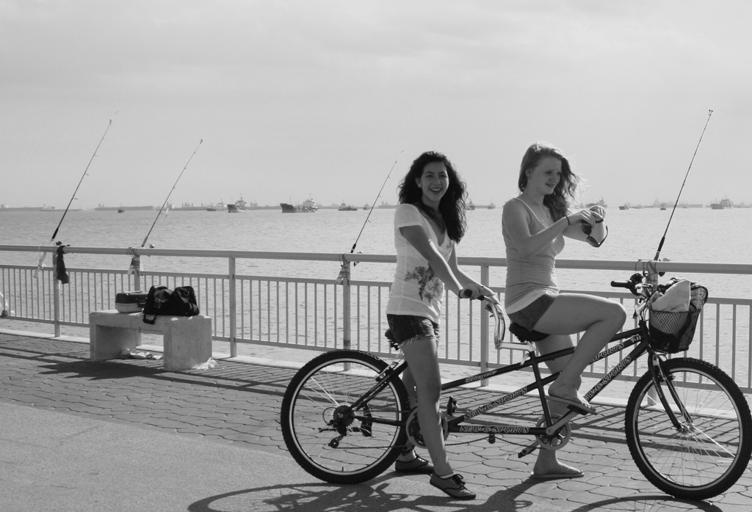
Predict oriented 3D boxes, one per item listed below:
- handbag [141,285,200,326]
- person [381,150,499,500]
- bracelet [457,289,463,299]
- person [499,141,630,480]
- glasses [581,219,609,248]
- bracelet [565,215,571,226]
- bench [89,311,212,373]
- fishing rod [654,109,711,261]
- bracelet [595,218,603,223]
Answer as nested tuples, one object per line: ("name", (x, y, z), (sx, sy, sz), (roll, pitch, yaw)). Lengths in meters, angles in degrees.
("handbag", (-2.630, 0.634, 10.292), (0.696, 0.485, 0.265), (-1, 3, -14))
("person", (0.447, 0.506, 6.235), (0.707, 2.642, 0.608), (1, 4, 14))
("bracelet", (0.622, 0.277, 5.905), (0.038, 0.064, 0.076), (0, 3, -1))
("person", (1.432, 0.402, 6.209), (0.922, 2.611, 1.157), (1, -3, -34))
("glasses", (1.663, -0.157, 6.147), (0.176, 0.208, 0.222), (-1, 4, 8))
("bracelet", (1.462, -0.280, 6.116), (0.041, 0.055, 0.015), (-9, -8, 26))
("bench", (-3.006, 1.109, 10.656), (1.599, 0.637, 0.673), (2, 1, 34))
("fishing rod", (3.321, -0.633, 8.910), (0.302, 1.716, 0.292), (-21, 43, -36))
("bracelet", (1.689, -0.259, 6.074), (0.031, 0.028, 0.098), (2, 4, 38))
